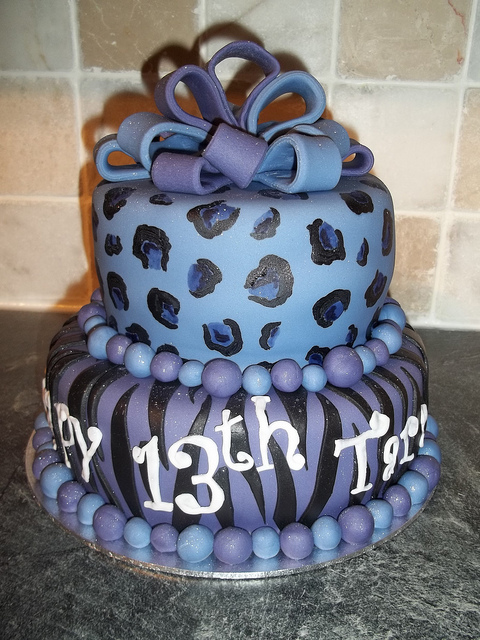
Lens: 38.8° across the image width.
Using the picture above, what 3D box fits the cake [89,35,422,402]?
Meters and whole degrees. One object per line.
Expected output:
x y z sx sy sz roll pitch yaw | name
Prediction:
0.015 -0.205 1.344 0.688 0.449 0.655 -3 27 -4 | cake
